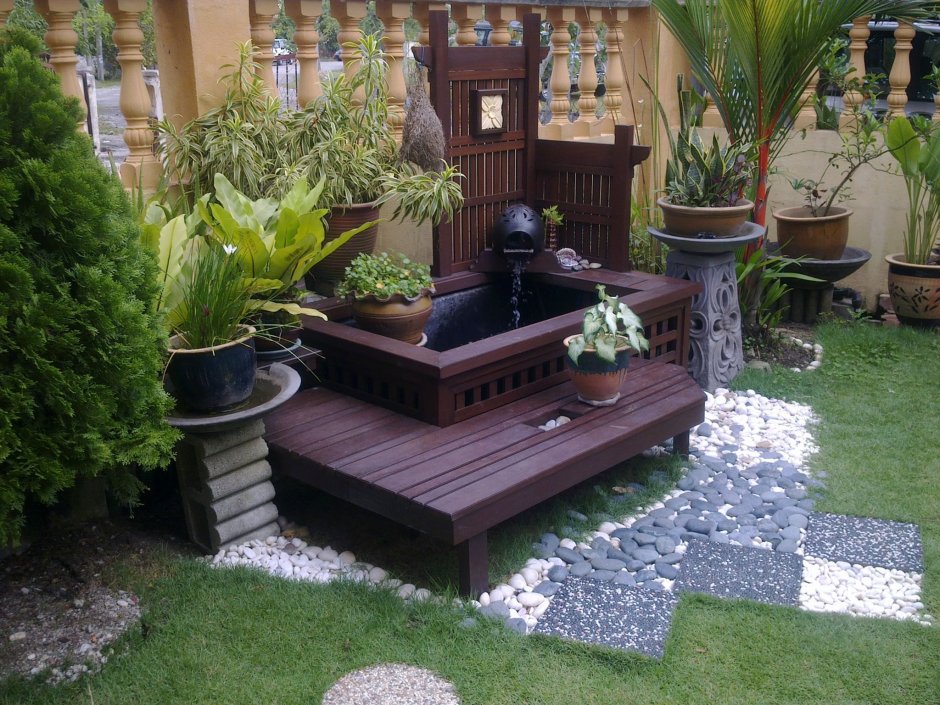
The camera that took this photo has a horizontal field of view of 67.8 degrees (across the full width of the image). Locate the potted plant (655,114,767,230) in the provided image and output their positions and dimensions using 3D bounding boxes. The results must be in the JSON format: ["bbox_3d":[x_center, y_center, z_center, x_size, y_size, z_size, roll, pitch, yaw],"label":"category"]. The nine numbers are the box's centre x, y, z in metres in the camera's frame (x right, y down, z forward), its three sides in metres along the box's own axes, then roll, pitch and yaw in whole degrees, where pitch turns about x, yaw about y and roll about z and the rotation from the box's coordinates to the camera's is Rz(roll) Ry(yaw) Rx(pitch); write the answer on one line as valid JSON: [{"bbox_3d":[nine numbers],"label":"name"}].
[{"bbox_3d":[1.596,-1.155,4.743,0.597,0.681,0.667,5,17,19],"label":"potted plant"}]

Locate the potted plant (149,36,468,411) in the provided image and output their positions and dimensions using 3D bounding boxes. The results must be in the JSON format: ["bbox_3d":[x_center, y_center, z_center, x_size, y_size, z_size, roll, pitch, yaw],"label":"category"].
[{"bbox_3d":[-0.989,-0.819,3.634,1.193,1.628,1.993,11,20,34],"label":"potted plant"}]

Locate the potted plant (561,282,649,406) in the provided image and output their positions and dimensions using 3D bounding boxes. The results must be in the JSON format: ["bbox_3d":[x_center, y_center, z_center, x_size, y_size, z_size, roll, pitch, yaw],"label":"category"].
[{"bbox_3d":[0.676,-0.026,3.542,0.390,0.569,0.373,2,16,8],"label":"potted plant"}]
